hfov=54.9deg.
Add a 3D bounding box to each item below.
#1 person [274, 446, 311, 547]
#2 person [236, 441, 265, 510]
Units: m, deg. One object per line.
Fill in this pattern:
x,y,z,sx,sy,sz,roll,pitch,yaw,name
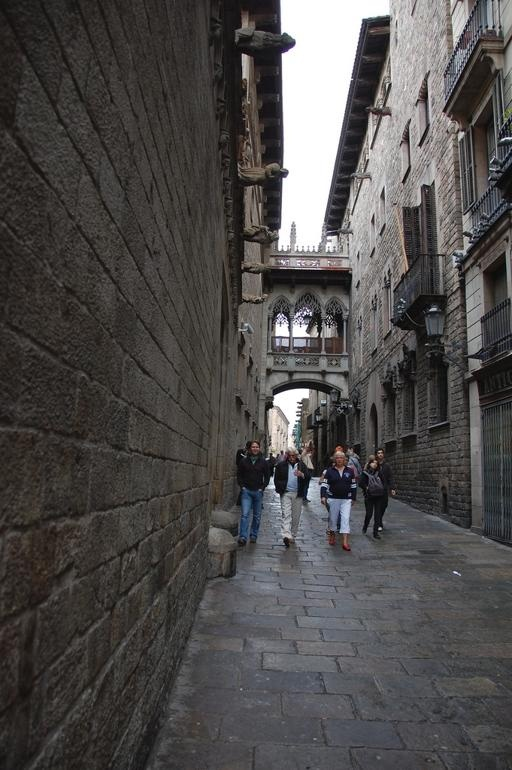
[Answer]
0.654,2.070,9.170,0.626,1.798,0.708,1,-7,3,person
-0.061,1.854,9.120,0.484,1.687,0.443,2,-16,-1,person
